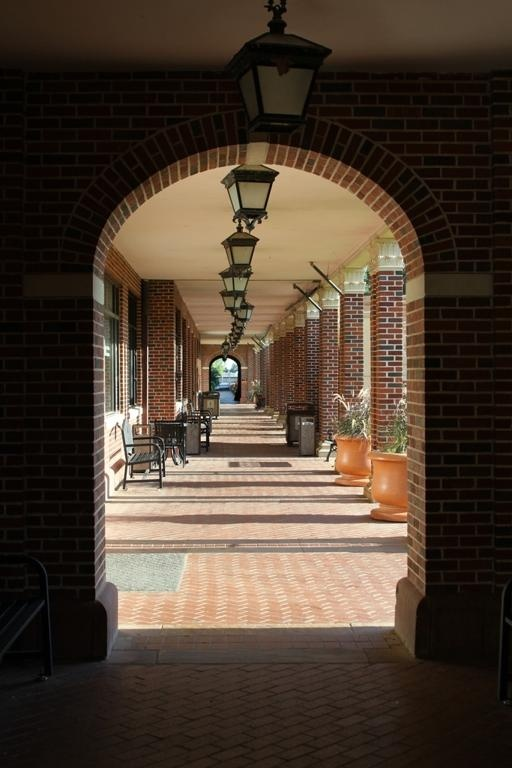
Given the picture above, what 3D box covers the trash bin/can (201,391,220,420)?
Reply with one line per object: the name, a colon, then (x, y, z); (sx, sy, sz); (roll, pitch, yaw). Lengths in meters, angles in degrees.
trash bin/can: (-2.186, 1.039, 26.434); (1.269, 1.701, 1.268); (0, 1, -2)
